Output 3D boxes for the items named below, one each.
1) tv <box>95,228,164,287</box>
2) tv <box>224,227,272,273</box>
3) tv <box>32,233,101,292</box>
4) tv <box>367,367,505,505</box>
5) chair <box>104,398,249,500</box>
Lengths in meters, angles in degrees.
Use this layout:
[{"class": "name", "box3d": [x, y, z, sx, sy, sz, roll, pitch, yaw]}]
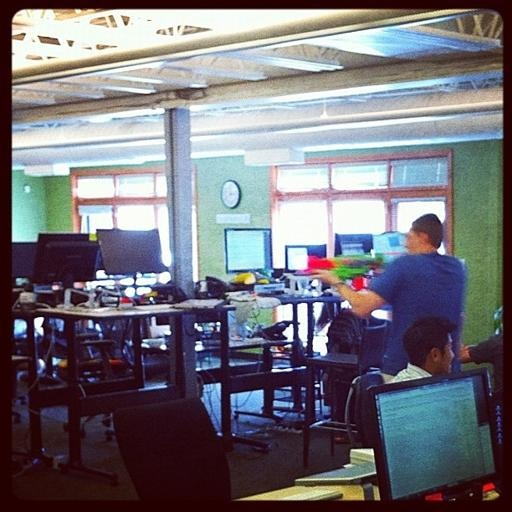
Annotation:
[{"class": "tv", "box3d": [-1.231, -0.007, 5.057, 0.810, 0.495, 0.251, 0, -12, -32]}, {"class": "tv", "box3d": [-0.093, -0.078, 5.883, 0.600, 0.370, 0.062, -1, 2, -38]}, {"class": "tv", "box3d": [-1.749, 0.053, 4.835, 0.768, 0.638, 0.271, 1, 5, -28]}, {"class": "tv", "box3d": [0.448, 0.450, 1.280, 0.534, 0.334, 0.076, 2, -16, -45]}, {"class": "chair", "box3d": [-0.260, 0.666, 1.729, 0.194, 0.371, 0.402, -4, -4, 35]}]
